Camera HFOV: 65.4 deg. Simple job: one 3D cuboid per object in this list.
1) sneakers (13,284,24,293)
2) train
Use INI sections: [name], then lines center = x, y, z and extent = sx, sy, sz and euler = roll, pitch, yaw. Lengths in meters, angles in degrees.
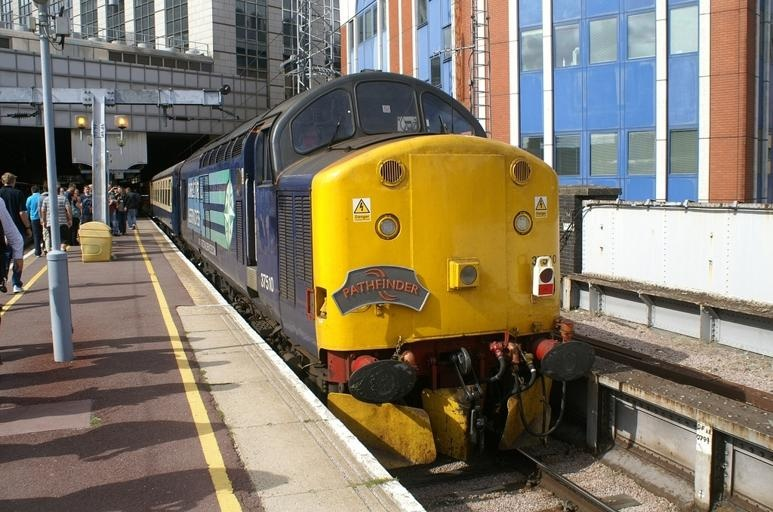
[sneakers]
center = -7.824, 0.705, 12.828
extent = 0.118, 0.151, 0.336
euler = 3, 9, 1
[train]
center = -0.233, -0.095, 8.888
extent = 2.912, 5.178, 5.938
euler = -7, 12, -35
